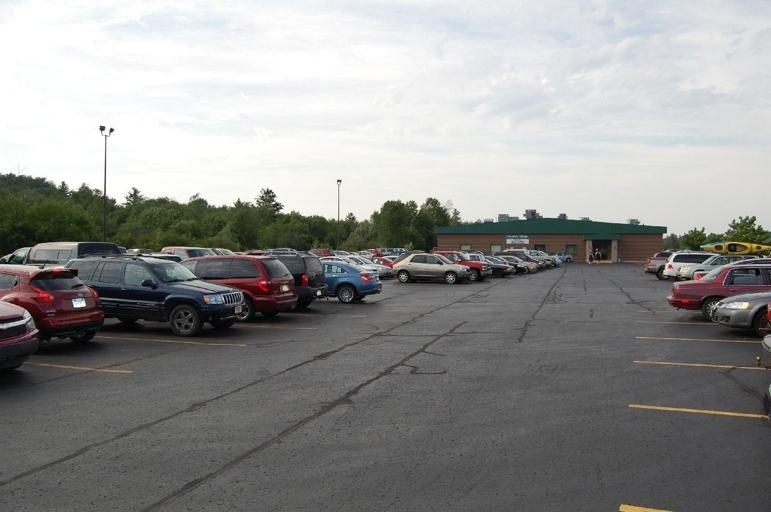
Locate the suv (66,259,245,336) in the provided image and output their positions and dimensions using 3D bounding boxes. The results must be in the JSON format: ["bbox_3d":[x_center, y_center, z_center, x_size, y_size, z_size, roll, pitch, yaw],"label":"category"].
[{"bbox_3d":[-6.465,1.047,16.199,4.834,1.624,2.137,0,1,16],"label":"suv"}]
